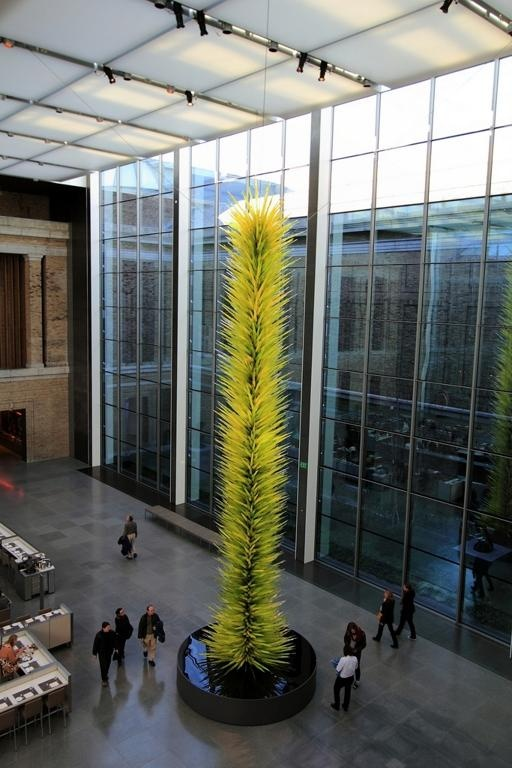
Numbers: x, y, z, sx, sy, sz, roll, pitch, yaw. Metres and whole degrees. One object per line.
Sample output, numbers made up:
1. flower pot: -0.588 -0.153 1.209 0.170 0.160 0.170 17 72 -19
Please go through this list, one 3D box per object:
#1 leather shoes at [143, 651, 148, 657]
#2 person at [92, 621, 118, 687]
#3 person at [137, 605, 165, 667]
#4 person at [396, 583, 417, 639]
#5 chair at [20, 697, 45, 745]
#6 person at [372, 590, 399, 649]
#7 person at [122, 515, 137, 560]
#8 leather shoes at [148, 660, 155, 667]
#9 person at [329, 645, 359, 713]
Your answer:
1. leather shoes: -1.719 4.200 9.051 0.061 0.118 0.044 -2 6 8
2. person: -2.176 3.812 8.443 0.306 1.035 0.681 0 5 -13
3. person: -1.565 3.833 8.887 0.450 0.875 0.368 1 0 19
4. person: 2.593 3.834 9.995 0.331 1.133 0.945 2 5 16
5. chair: -2.766 4.092 7.231 0.268 0.542 0.432 -1 5 -22
6. person: 2.178 3.916 9.732 0.483 0.862 0.387 2 2 43
7. person: -2.852 3.440 13.340 0.310 0.985 0.677 1 4 1
8. leather shoes: -1.575 4.270 8.884 0.056 0.051 0.118 1 0 -32
9. person: 1.185 3.915 7.797 0.332 1.016 0.619 1 4 5
